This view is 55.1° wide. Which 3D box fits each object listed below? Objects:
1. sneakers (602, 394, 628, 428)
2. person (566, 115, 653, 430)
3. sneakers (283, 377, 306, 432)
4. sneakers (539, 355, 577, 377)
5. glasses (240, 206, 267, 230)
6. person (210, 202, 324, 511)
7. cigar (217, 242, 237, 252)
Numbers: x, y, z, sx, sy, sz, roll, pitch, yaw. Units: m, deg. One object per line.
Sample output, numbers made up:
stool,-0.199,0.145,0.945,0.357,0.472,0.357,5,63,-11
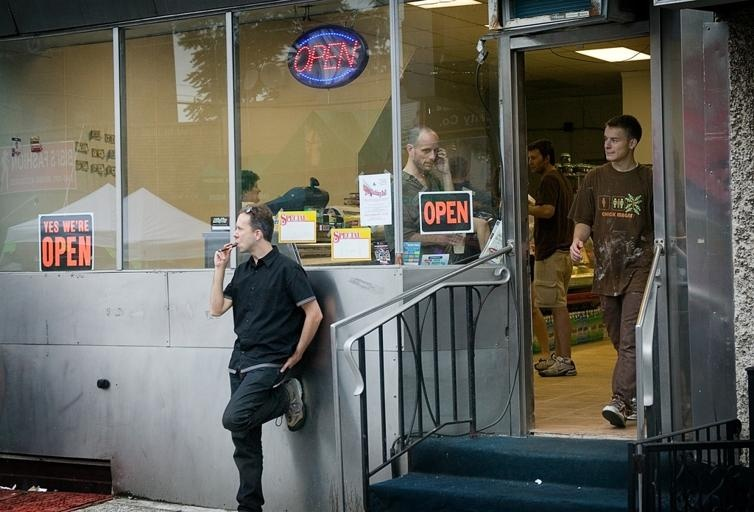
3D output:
sneakers,1.932,1.240,5.825,0.130,0.167,0.340,13,-31,32
person,2.018,0.103,6.097,0.495,2.622,0.655,-2,-1,-24
sneakers,-0.672,1.251,6.100,0.200,0.427,0.157,-15,13,-40
sneakers,2.017,1.224,8.032,0.475,0.239,0.173,0,-3,-22
glasses,-0.998,-0.336,5.902,0.199,0.191,0.161,17,29,38
person,-0.869,0.779,5.854,0.795,1.975,0.563,-2,0,-15
cigar,-1.300,-0.086,6.288,0.083,0.092,0.312,15,5,0
